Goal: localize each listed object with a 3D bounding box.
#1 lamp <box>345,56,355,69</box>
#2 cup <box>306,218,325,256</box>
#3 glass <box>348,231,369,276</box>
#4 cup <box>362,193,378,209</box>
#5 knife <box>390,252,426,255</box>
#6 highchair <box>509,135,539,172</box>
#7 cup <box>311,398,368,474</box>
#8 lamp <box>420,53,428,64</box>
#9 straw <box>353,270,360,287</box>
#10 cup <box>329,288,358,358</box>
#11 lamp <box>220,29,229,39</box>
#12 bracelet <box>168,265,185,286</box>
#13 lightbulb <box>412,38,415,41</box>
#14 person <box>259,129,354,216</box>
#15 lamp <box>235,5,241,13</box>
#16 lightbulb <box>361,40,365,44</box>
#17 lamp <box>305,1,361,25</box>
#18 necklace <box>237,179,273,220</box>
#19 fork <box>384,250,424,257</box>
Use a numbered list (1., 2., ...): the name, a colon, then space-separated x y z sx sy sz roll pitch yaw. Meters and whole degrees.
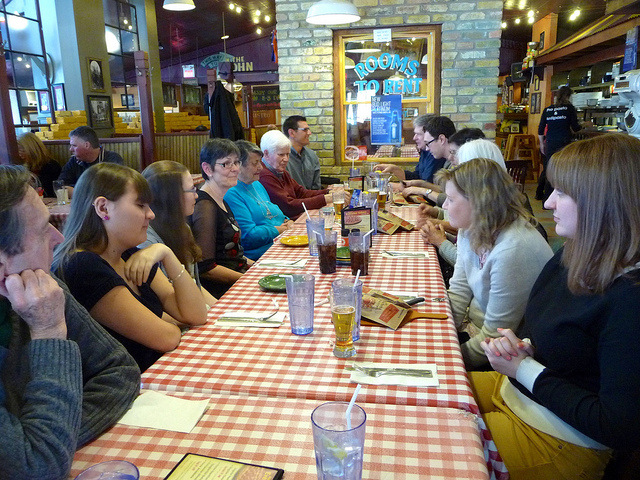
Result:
1. lamp: 0.358 -2.166 5.400 0.115 0.048 0.115 0 3 -1
2. cup: -0.028 -0.008 2.380 0.127 0.197 0.121 0 -10 0
3. glass: 0.187 0.066 2.070 0.155 0.188 0.157 1 10 16
4. cup: 0.319 -0.262 2.868 0.112 0.113 0.106 1 -7 0
5. knife: 0.480 0.072 2.390 0.165 0.006 0.050 2 17 8
6. highchair: 4.582 -1.951 9.983 0.610 0.791 0.705 2 18 19
7. cup: 0.038 0.413 0.934 0.112 0.141 0.095 -1 17 8
8. lamp: 1.243 -2.142 5.309 0.080 0.086 0.078 -24 32 -27
9. straw: 0.135 0.139 1.645 0.009 0.064 0.008 0 33 -24
10. cup: 0.065 0.261 1.437 0.105 0.220 0.098 -1 3 0
11. lamp: -3.389 -7.208 15.658 0.295 0.323 0.314 -2 -7 -1
12. bracelet: -0.578 0.150 1.755 0.019 0.076 0.080 37 3 7
13. lightbulb: 1.100 -2.371 5.265 0.022 0.027 0.009 0 18 13
14. person: -0.017 -0.689 4.254 0.818 1.110 0.800 0 26 10
15. lamp: -2.211 -6.252 12.018 0.080 0.111 0.103 -7 8 -18
16. lightbulb: 0.504 -2.371 5.344 0.036 0.036 0.020 1 3 5
17. lamp: 0.105 -2.000 3.909 0.348 0.138 0.351 0 12 9
18. necklace: -0.495 -0.296 3.305 0.037 0.414 0.114 -38 -3 25
19. fork: 0.452 0.074 2.402 0.172 0.025 0.053 1 7 7
